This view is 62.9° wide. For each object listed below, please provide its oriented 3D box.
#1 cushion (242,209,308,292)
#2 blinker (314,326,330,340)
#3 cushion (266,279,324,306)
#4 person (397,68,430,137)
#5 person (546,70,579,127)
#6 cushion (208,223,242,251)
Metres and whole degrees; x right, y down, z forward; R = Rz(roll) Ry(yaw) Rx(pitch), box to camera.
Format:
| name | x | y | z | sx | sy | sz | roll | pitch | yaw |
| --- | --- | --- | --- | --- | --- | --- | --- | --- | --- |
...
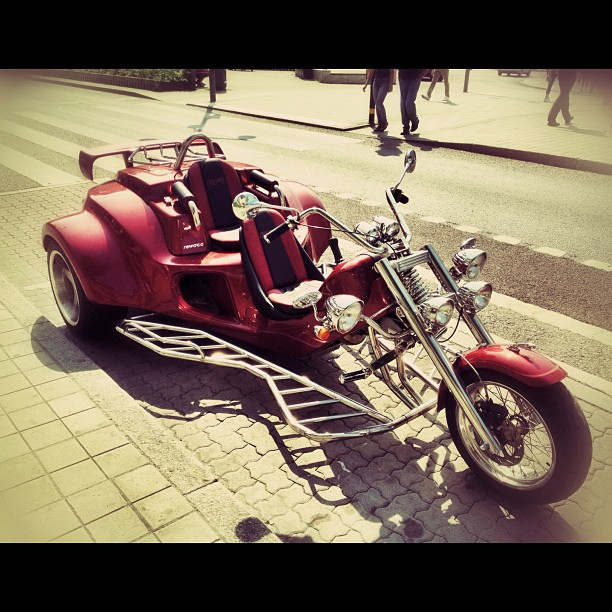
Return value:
| name | x | y | z | sx | sy | sz | roll | pitch | yaw |
| --- | --- | --- | --- | --- | --- | --- | --- | --- | --- |
| cushion | -0.278 | -0.421 | 3.995 | 0.576 | 0.604 | 0.548 | 1 | 25 | -36 |
| blinker | 0.107 | 0.178 | 3.444 | 0.103 | 0.075 | 0.091 | -26 | 11 | -1 |
| cushion | -0.081 | -0.128 | 3.897 | 0.219 | 0.044 | 0.363 | 25 | 32 | 36 |
| person | 2.508 | -4.899 | 12.106 | 0.571 | 1.555 | 1.214 | -1 | 31 | 10 |
| person | 6.087 | -4.919 | 11.907 | 0.529 | 1.365 | 2.181 | 9 | 31 | 25 |
| cushion | -0.725 | -0.608 | 4.407 | 0.293 | 0.106 | 0.341 | -17 | 25 | -27 |
